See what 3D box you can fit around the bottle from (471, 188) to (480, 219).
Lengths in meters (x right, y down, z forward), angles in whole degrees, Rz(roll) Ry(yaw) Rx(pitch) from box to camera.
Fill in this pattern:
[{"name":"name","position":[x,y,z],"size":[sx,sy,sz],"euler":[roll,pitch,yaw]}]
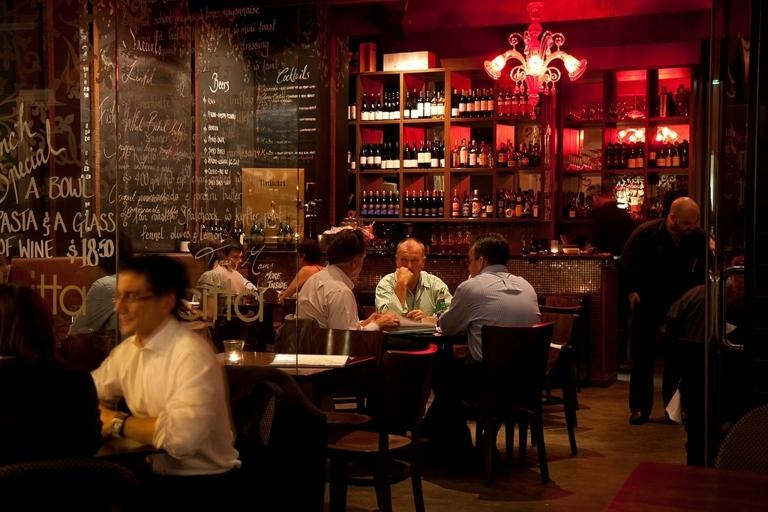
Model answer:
[{"name":"bottle","position":[1.220,-0.686,9.171],"size":[0.128,0.376,0.328],"euler":[0,2,7]}]

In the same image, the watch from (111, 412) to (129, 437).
[{"name":"watch","position":[-1.093,0.694,2.847],"size":[0.062,0.101,0.094],"euler":[3,0,8]}]

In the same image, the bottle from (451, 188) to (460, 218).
[{"name":"bottle","position":[0.955,-0.689,9.180],"size":[0.140,0.380,0.106],"euler":[-2,3,-42]}]

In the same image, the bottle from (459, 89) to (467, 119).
[{"name":"bottle","position":[1.037,-1.982,9.090],"size":[0.108,0.332,0.056],"euler":[1,2,17]}]

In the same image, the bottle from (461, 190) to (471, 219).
[{"name":"bottle","position":[1.099,-0.669,9.172],"size":[0.125,0.321,0.177],"euler":[0,2,3]}]

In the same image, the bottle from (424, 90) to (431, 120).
[{"name":"bottle","position":[0.574,-1.993,9.213],"size":[0.099,0.374,0.230],"euler":[0,2,4]}]

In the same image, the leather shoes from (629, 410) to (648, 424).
[{"name":"leather shoes","position":[2.272,1.443,6.239],"size":[0.102,0.144,0.163],"euler":[0,-2,-45]}]

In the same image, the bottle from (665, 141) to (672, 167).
[{"name":"bottle","position":[3.702,-1.289,8.981],"size":[0.064,0.290,0.104],"euler":[1,2,27]}]

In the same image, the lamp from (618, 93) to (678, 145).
[{"name":"lamp","position":[3.504,-1.791,9.173],"size":[0.782,0.652,0.439],"euler":[1,2,21]}]

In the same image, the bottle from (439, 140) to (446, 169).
[{"name":"bottle","position":[0.768,-1.349,9.237],"size":[0.109,0.383,0.382],"euler":[0,2,4]}]

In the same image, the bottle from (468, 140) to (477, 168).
[{"name":"bottle","position":[1.159,-1.325,9.084],"size":[0.112,0.344,0.215],"euler":[0,2,4]}]

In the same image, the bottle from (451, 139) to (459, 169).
[{"name":"bottle","position":[0.951,-1.332,9.117],"size":[0.118,0.367,0.166],"euler":[0,2,5]}]

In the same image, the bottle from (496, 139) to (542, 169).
[{"name":"bottle","position":[1.740,-1.289,8.943],"size":[0.404,0.262,0.096],"euler":[1,-6,-4]}]

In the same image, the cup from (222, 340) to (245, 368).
[{"name":"cup","position":[-0.705,0.456,3.232],"size":[0.088,0.108,0.097],"euler":[2,-3,0]}]

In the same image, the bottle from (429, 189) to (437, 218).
[{"name":"bottle","position":[0.667,-0.677,9.212],"size":[0.089,0.332,0.132],"euler":[0,2,3]}]

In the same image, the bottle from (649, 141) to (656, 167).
[{"name":"bottle","position":[3.505,-1.297,9.032],"size":[0.083,0.307,0.063],"euler":[1,2,22]}]

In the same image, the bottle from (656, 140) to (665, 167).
[{"name":"bottle","position":[3.623,-1.299,9.020],"size":[0.106,0.301,0.101],"euler":[0,2,0]}]

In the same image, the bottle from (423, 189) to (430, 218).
[{"name":"bottle","position":[0.583,-0.677,9.227],"size":[0.080,0.331,0.113],"euler":[0,2,3]}]

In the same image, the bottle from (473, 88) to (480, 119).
[{"name":"bottle","position":[1.219,-1.975,9.028],"size":[0.112,0.350,0.082],"euler":[1,2,25]}]

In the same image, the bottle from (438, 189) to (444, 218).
[{"name":"bottle","position":[0.750,-0.680,9.194],"size":[0.080,0.340,0.115],"euler":[0,2,2]}]

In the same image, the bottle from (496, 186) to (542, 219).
[{"name":"bottle","position":[1.754,-0.677,8.988],"size":[0.556,0.378,0.305],"euler":[1,2,12]}]

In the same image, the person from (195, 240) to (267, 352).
[{"name":"person","position":[-0.753,0.333,3.514],"size":[0.237,0.773,0.315],"euler":[-5,0,38]}]

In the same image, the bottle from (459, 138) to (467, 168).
[{"name":"bottle","position":[1.044,-1.345,9.121],"size":[0.110,0.374,0.231],"euler":[0,2,4]}]

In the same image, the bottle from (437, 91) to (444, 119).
[{"name":"bottle","position":[0.753,-1.972,9.107],"size":[0.098,0.357,0.190],"euler":[0,2,4]}]

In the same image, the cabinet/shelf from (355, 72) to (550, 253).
[{"name":"cabinet/shelf","position":[0.964,-1.226,8.973],"size":[2.246,2.207,0.702],"euler":[0,2,9]}]

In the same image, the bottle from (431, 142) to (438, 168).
[{"name":"bottle","position":[0.681,-1.342,9.242],"size":[0.102,0.365,0.285],"euler":[0,2,2]}]

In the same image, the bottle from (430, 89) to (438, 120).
[{"name":"bottle","position":[0.664,-1.978,9.170],"size":[0.089,0.354,0.195],"euler":[0,2,4]}]

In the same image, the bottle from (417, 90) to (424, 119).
[{"name":"bottle","position":[0.495,-2.006,9.266],"size":[0.100,0.384,0.272],"euler":[0,2,3]}]

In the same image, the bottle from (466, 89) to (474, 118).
[{"name":"bottle","position":[1.132,-1.979,9.059],"size":[0.078,0.345,0.085],"euler":[0,2,0]}]

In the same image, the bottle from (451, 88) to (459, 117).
[{"name":"bottle","position":[0.944,-1.994,9.088],"size":[0.109,0.358,0.063],"euler":[0,2,5]}]

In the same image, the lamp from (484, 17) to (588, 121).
[{"name":"lamp","position":[1.863,-2.266,8.460],"size":[1.199,1.513,1.268],"euler":[1,1,23]}]

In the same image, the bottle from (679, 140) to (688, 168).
[{"name":"bottle","position":[3.865,-1.295,8.928],"size":[0.126,0.336,0.098],"euler":[1,2,25]}]

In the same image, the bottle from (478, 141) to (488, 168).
[{"name":"bottle","position":[1.296,-1.300,9.016],"size":[0.134,0.306,0.150],"euler":[1,2,21]}]

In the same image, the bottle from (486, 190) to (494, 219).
[{"name":"bottle","position":[1.391,-0.640,9.102],"size":[0.112,0.291,0.254],"euler":[0,2,5]}]

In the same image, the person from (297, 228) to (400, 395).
[{"name":"person","position":[-0.219,0.217,4.709],"size":[0.751,1.272,0.668],"euler":[-4,7,-36]}]

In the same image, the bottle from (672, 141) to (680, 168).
[{"name":"bottle","position":[3.771,-1.286,8.960],"size":[0.122,0.291,0.116],"euler":[0,2,0]}]
